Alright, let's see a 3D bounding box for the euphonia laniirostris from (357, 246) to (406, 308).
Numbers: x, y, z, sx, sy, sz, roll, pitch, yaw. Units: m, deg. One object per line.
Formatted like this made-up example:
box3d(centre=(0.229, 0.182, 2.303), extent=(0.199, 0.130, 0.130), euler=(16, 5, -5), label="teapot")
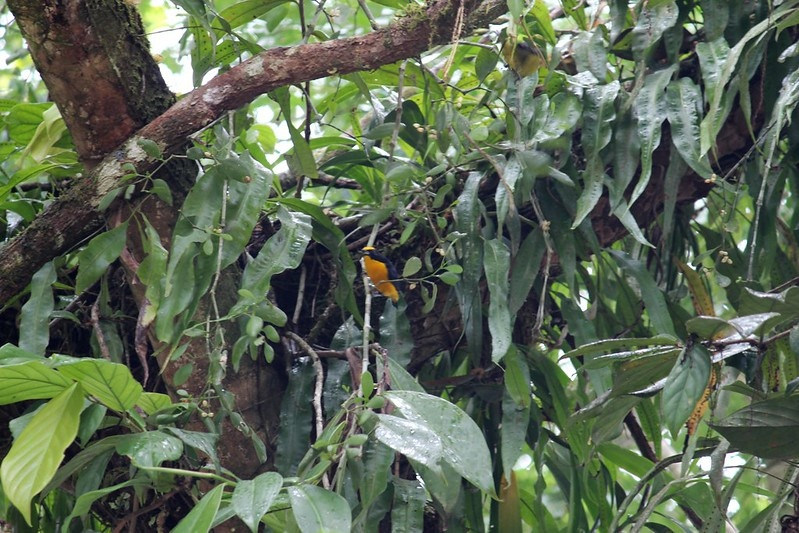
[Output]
box3d(centre=(-0.049, 0.025, 4.063), extent=(0.097, 0.163, 0.196), euler=(-6, -11, 43), label="euphonia laniirostris")
